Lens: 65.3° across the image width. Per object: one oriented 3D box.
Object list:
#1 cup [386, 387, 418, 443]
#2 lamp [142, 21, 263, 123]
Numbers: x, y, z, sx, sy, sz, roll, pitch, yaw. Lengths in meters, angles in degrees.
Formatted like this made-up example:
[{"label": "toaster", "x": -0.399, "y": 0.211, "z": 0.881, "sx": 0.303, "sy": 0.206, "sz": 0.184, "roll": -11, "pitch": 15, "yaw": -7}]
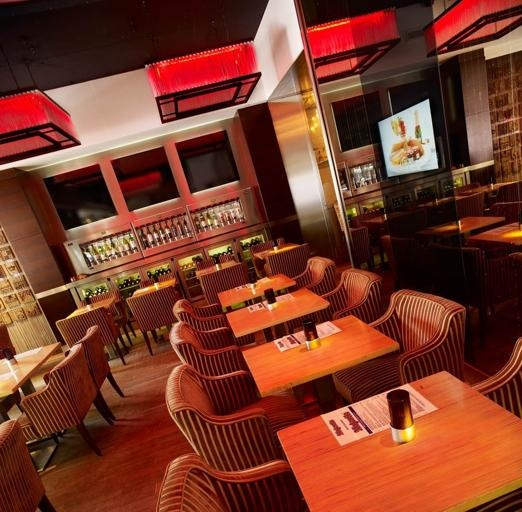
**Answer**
[{"label": "cup", "x": 0.536, "y": 0.598, "z": 1.591, "sx": 0.105, "sy": 0.204, "sz": 0.154, "roll": -16, "pitch": 11, "yaw": 13}, {"label": "lamp", "x": -0.631, "y": -1.979, "z": 4.564, "sx": 1.200, "sy": 0.447, "sz": 0.870, "roll": -16, "pitch": 10, "yaw": -4}]
